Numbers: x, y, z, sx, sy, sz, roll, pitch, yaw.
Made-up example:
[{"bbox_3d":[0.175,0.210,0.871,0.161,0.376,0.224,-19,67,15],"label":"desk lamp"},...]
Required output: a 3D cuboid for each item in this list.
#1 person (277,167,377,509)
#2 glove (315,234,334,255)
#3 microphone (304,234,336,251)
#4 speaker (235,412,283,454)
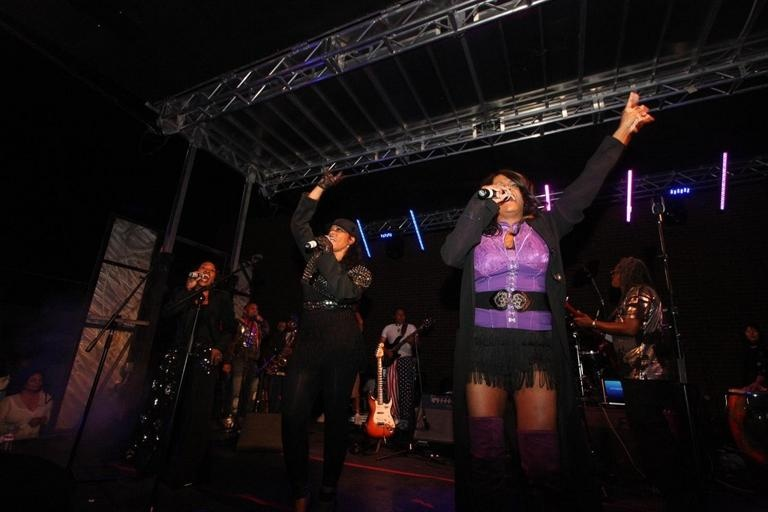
[{"bbox_3d":[-0.704,0.849,5.307,0.980,3.730,0.879,16,-26,-30],"label":"person"},{"bbox_3d":[-0.678,-0.154,5.408,0.194,0.195,0.056,-12,-24,-37],"label":"glove"},{"bbox_3d":[-0.735,-0.160,5.401,0.248,0.178,0.112,-6,-40,-28],"label":"microphone"},{"bbox_3d":[-1.807,2.577,6.865,0.709,0.535,0.176,-3,-12,5],"label":"speaker"}]
